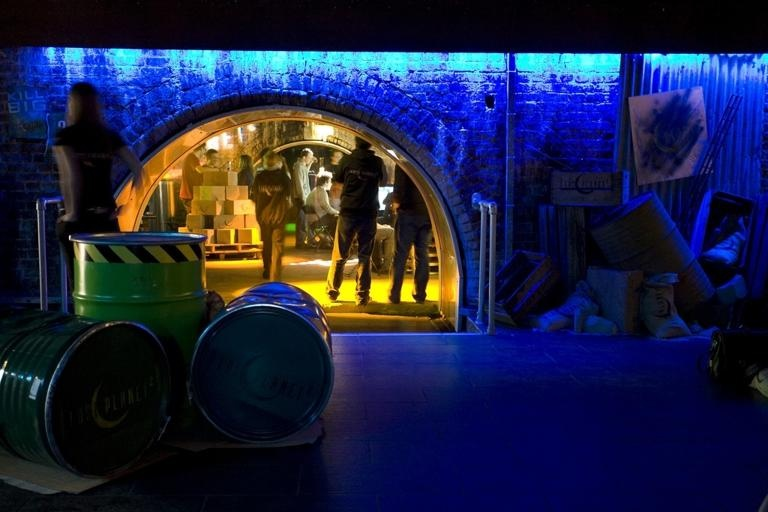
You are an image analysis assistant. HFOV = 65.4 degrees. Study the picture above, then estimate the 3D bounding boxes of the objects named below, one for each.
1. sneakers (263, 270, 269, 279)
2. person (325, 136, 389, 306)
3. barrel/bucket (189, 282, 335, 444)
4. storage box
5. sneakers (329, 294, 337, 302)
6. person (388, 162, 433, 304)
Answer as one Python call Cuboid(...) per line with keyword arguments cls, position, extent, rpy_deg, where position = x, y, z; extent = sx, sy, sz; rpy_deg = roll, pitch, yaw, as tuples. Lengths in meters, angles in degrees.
Cuboid(cls="sneakers", position=(-1.928, 0.314, 9.820), extent=(0.146, 0.145, 0.078), rpy_deg=(0, -1, 33))
Cuboid(cls="person", position=(-0.397, -0.484, 8.428), extent=(0.785, 2.294, 0.799), rpy_deg=(4, 12, 17))
Cuboid(cls="barrel/bucket", position=(-0.766, 0.761, 4.424), extent=(0.935, 0.961, 1.031), rpy_deg=(14, 9, -5))
Cuboid(cls="storage box", position=(-3.208, -0.978, 11.828), extent=(1.612, 1.667, 1.350), rpy_deg=(0, 8, -2))
Cuboid(cls="sneakers", position=(-0.715, 0.609, 8.542), extent=(0.114, 0.119, 0.115), rpy_deg=(3, -3, -41))
Cuboid(cls="person", position=(0.369, -0.260, 8.315), extent=(0.568, 1.916, 0.408), rpy_deg=(1, 11, 5))
